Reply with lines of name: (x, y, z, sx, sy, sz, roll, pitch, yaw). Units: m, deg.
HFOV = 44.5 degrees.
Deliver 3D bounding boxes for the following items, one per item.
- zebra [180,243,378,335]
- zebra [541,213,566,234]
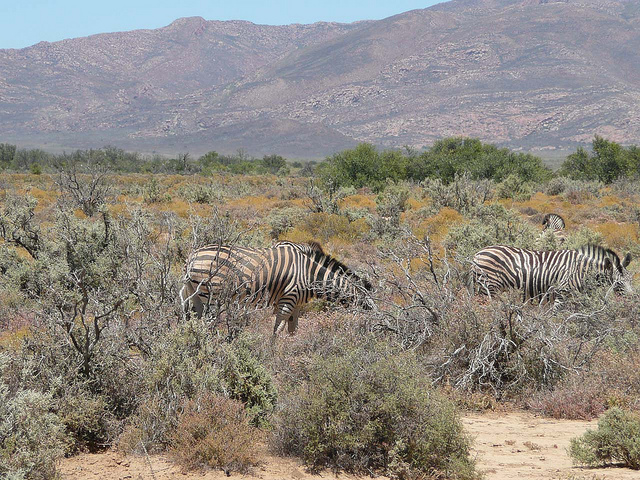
zebra: (-0.843, 0.968, 14.394, 3.411, 1.655, 1.911, 2, -1, -26)
zebra: (6.485, -0.481, 21.667, 0.486, 0.470, 1.655, 1, -1, 14)
